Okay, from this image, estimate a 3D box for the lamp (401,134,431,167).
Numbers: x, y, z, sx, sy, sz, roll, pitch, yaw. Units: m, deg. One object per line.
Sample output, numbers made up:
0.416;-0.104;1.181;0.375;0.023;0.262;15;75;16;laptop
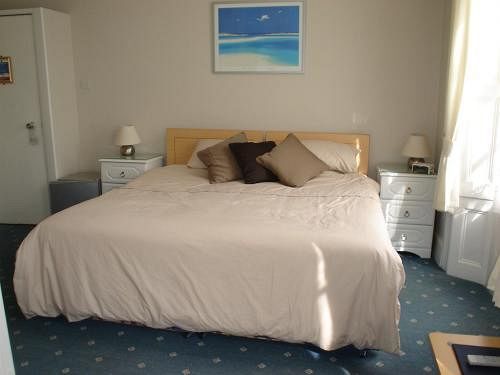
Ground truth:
1.805;-0.421;4.314;0.330;0.378;0.334;-6;20;-9;lamp
